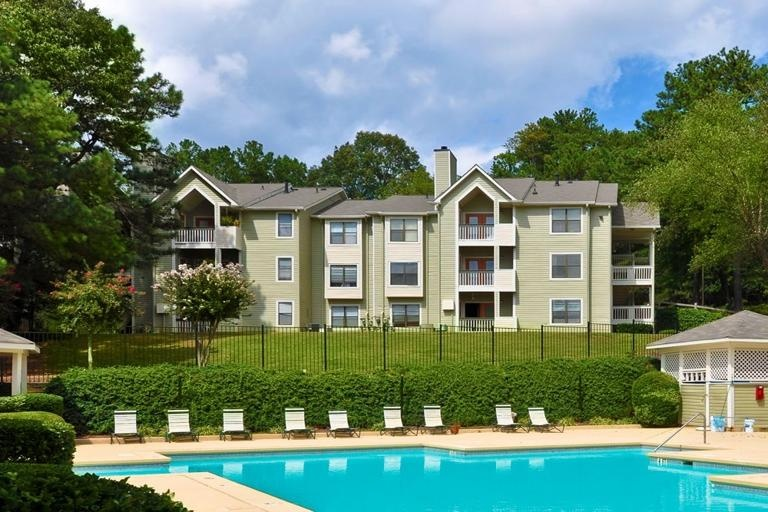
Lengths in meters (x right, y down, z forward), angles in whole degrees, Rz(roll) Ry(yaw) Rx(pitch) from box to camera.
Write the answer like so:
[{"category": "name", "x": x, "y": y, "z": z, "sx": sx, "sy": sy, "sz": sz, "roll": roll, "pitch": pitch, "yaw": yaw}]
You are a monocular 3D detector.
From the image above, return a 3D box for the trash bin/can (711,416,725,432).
[{"category": "trash bin/can", "x": 16.239, "y": 8.192, "z": 43.260, "sx": 0.672, "sy": 0.706, "sz": 0.663, "roll": 1, "pitch": -7, "yaw": -8}]

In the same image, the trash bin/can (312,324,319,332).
[{"category": "trash bin/can", "x": -5.008, "y": 5.065, "z": 63.051, "sx": 0.691, "sy": 0.636, "sz": 0.440, "roll": 1, "pitch": -5, "yaw": -24}]

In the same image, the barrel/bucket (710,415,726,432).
[{"category": "barrel/bucket", "x": 16.276, "y": 8.157, "z": 43.114, "sx": 0.682, "sy": 0.700, "sz": 0.705, "roll": 0, "pitch": -10, "yaw": 0}]

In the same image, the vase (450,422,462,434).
[{"category": "vase", "x": 3.445, "y": 8.494, "z": 43.596, "sx": 0.434, "sy": 0.310, "sz": 0.429, "roll": 0, "pitch": -8, "yaw": -3}]
